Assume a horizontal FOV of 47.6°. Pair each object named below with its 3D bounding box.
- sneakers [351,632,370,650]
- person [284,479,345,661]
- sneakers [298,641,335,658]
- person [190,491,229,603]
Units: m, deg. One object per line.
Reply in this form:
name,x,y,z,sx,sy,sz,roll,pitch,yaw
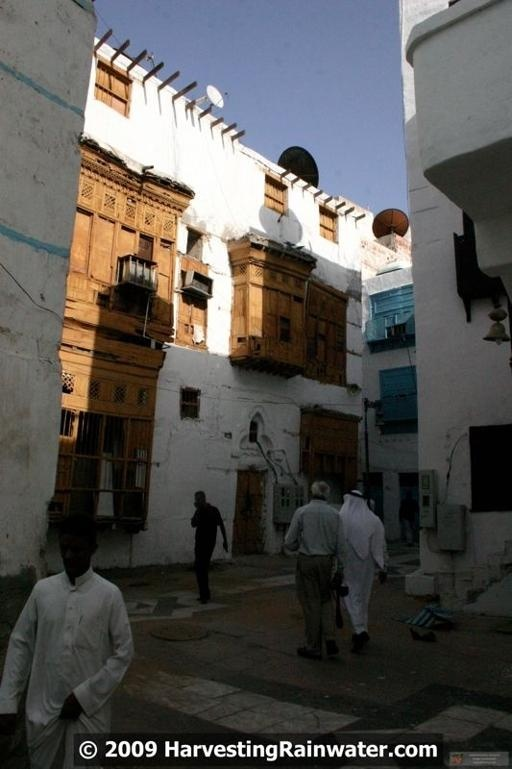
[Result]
sneakers,1.076,2.734,6.095,0.153,0.270,0.258,1,-22,5
person,0.575,1.869,5.844,0.549,1.710,0.386,0,-13,5
sneakers,0.604,2.626,5.723,0.401,0.185,0.256,-1,-13,9
person,-0.781,2.555,9.137,0.493,1.672,0.763,3,-13,-6
